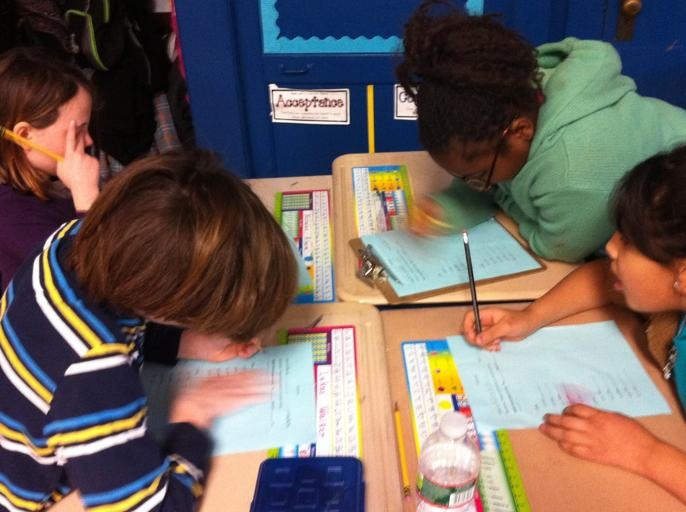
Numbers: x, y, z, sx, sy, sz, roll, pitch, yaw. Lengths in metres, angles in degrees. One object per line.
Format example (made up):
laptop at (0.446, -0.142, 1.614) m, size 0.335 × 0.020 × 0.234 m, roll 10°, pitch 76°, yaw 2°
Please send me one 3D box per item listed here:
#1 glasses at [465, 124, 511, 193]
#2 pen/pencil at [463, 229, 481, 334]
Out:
glasses at (0.380, -0.271, 1.444) m, size 0.039 × 0.124 × 0.123 m, roll 25°, pitch -4°, yaw -2°
pen/pencil at (0.319, 0.070, 1.330) m, size 0.020 × 0.250 × 0.020 m, roll 2°, pitch -12°, yaw -40°
